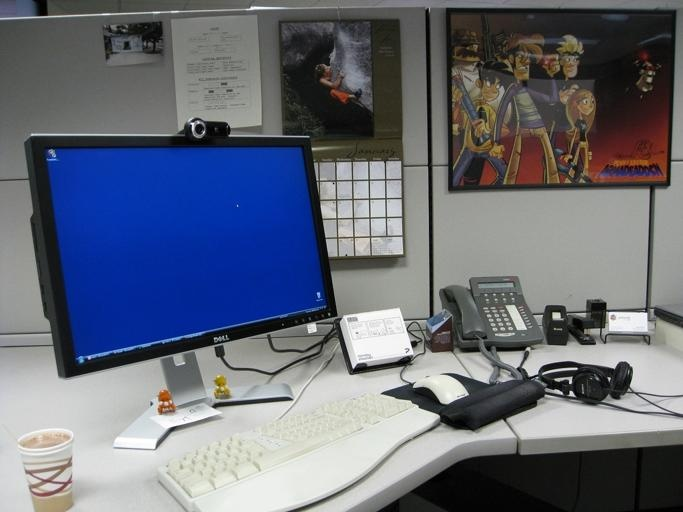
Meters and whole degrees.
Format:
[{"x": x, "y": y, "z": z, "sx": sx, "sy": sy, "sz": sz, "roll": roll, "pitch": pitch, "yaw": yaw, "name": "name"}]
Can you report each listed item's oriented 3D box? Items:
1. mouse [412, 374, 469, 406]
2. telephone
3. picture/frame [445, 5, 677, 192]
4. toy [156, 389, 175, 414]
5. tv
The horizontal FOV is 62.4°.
[{"x": 0.268, "y": 0.332, "z": 1.444, "sx": 0.063, "sy": 0.035, "sz": 0.107, "roll": -4, "pitch": 11, "yaw": -35, "name": "mouse"}, {"x": 0.472, "y": 0.205, "z": 1.764, "sx": 0.306, "sy": 0.139, "sz": 0.386, "roll": 3, "pitch": 26, "yaw": 4, "name": "telephone"}, {"x": 0.721, "y": -0.559, "z": 1.937, "sx": 0.637, "sy": 0.461, "sz": 0.022, "roll": -2, "pitch": 8, "yaw": -5, "name": "picture/frame"}, {"x": -0.441, "y": 0.368, "z": 1.415, "sx": 0.047, "sy": 0.066, "sz": 0.037, "roll": -2, "pitch": -20, "yaw": -30, "name": "toy"}, {"x": -0.395, "y": 0.064, "z": 1.514, "sx": 0.766, "sy": 0.753, "sz": 0.255, "roll": -9, "pitch": 15, "yaw": -42, "name": "tv"}]
